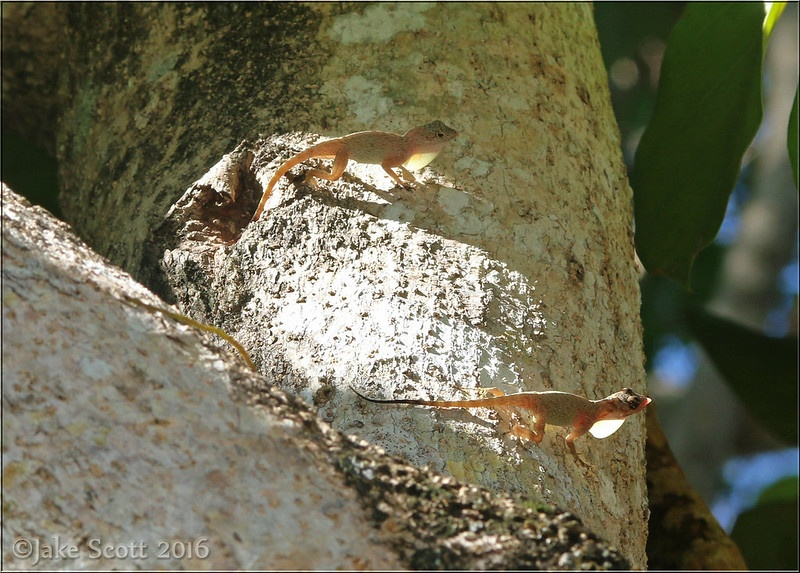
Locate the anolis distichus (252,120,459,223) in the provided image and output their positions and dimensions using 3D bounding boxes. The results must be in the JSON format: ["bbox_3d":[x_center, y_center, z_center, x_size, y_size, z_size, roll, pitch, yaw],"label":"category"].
[{"bbox_3d":[-0.202,-0.669,6.415,1.086,0.331,0.508,-8,56,8],"label":"anolis distichus"}]
